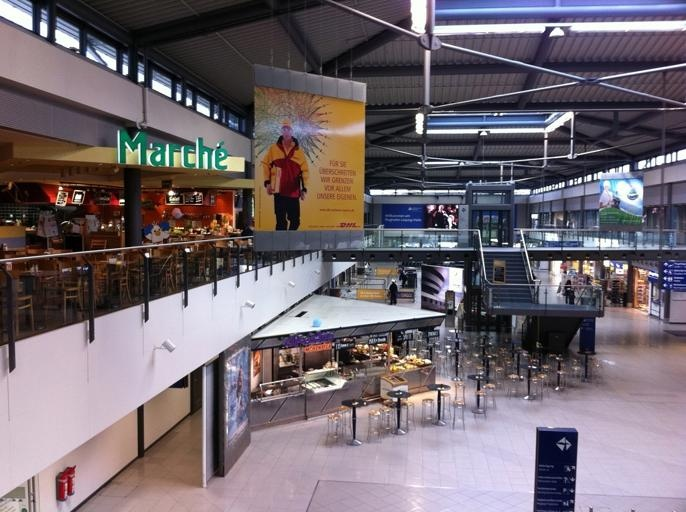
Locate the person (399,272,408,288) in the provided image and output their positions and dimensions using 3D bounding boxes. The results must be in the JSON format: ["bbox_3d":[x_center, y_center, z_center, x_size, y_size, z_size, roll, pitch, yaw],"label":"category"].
[{"bbox_3d":[4.350,1.758,40.288,0.501,1.174,1.077,2,8,17],"label":"person"}]

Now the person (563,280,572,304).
[{"bbox_3d":[8.902,1.472,22.292,0.404,0.910,0.241,0,7,-2],"label":"person"}]

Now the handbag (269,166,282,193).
[{"bbox_3d":[-1.679,-1.854,14.053,0.309,0.648,0.074,-5,9,-36],"label":"handbag"}]
